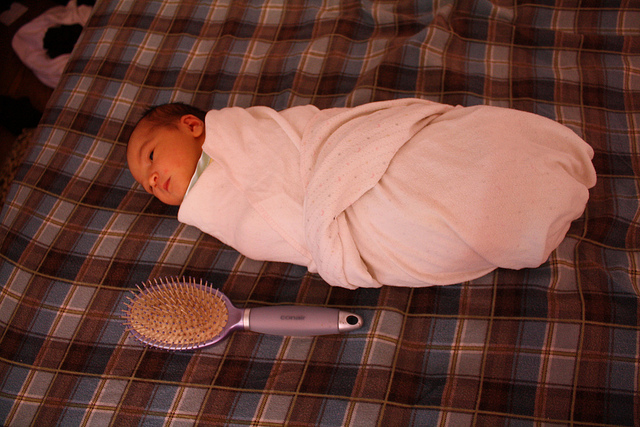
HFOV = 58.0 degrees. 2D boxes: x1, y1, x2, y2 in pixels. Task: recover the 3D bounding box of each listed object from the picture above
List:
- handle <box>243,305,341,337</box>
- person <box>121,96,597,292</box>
[{"bbox_3d":[-0.086,0.324,1.805,0.358,0.101,0.111,0,41,3],"label":"handle"},{"bbox_3d":[0.150,-0.051,1.954,1.317,0.421,0.686,4,78,15],"label":"person"}]
